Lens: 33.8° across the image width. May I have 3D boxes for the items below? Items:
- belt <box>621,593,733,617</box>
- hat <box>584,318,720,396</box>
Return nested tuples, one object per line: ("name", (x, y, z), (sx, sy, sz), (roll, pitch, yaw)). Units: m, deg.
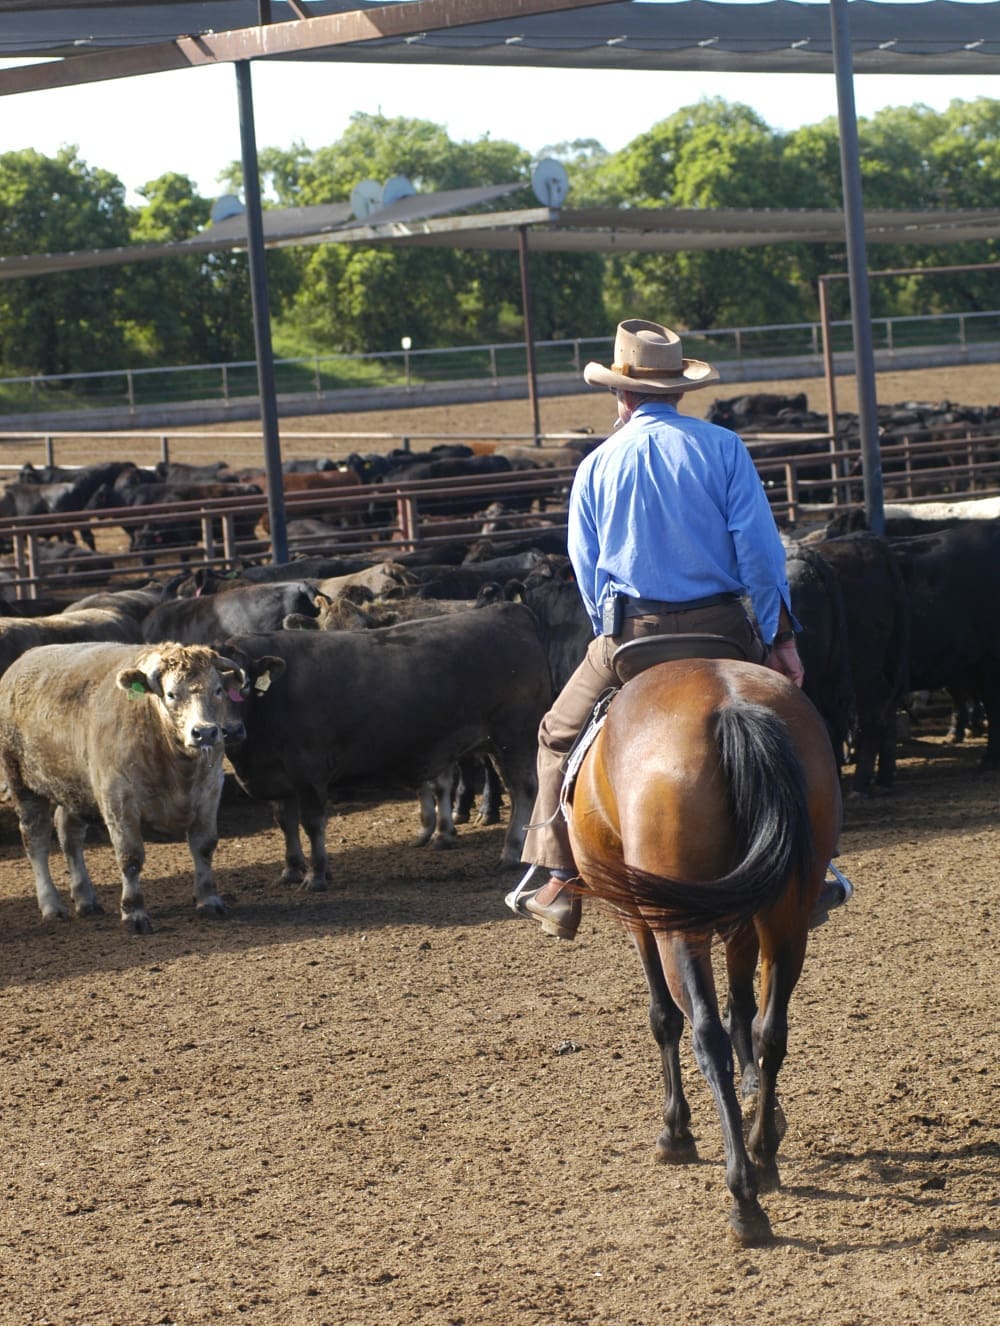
("belt", (0.473, -0.147, 4.360), (0.296, 0.056, 0.085), (-4, 6, 3))
("hat", (0.398, -0.833, 4.648), (0.309, 0.112, 0.304), (-4, 16, -10))
